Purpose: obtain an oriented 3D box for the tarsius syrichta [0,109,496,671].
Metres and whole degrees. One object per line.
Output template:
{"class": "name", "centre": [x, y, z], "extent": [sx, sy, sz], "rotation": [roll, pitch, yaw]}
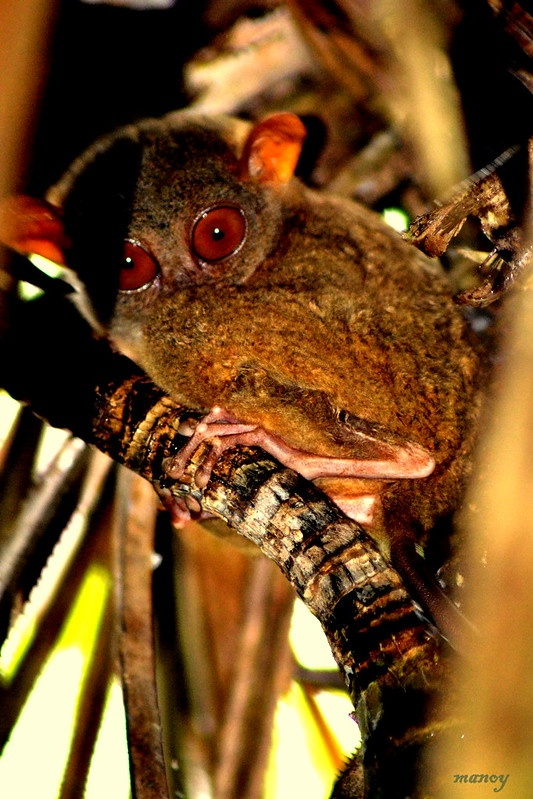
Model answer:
{"class": "tarsius syrichta", "centre": [0.062, -0.269, 2.718], "extent": [1.126, 0.594, 1.550], "rotation": [-32, 68, -14]}
